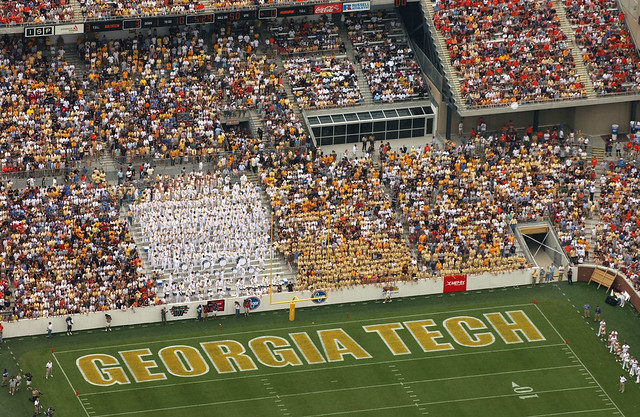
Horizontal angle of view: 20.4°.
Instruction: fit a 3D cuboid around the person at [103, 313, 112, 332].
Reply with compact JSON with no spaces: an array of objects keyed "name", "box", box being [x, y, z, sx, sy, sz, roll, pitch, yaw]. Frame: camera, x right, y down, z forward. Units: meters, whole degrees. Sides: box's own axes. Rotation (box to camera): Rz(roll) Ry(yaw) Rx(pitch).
[{"name":"person","box":[-14.855,7.925,125.302,0.482,1.076,0.693,1,40,9]}]
